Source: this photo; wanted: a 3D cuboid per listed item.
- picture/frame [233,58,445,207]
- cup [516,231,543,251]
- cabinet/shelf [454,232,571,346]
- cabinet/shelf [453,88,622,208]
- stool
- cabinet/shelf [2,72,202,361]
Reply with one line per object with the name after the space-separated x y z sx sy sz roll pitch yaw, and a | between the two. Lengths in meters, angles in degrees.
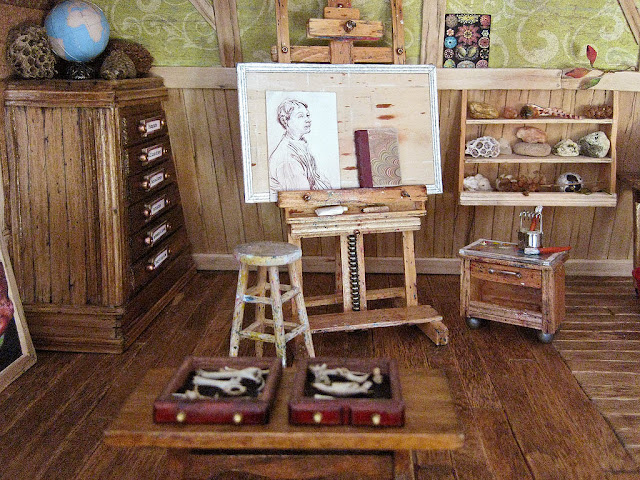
0.112 -0.641 2.874 1.141 0.634 0.039 -2 -1 -10 | picture/frame
1.252 0.004 2.885 0.148 0.089 0.107 -4 7 -30 | cup
1.157 0.210 3.168 0.907 0.682 0.585 6 15 33 | cabinet/shelf
1.589 -0.696 3.491 1.087 0.737 0.318 0 7 3 | cabinet/shelf
-0.288 0.360 2.655 0.424 0.737 0.797 -5 20 -5 | stool
-1.430 -0.205 3.033 0.652 1.549 1.033 1 21 8 | cabinet/shelf
